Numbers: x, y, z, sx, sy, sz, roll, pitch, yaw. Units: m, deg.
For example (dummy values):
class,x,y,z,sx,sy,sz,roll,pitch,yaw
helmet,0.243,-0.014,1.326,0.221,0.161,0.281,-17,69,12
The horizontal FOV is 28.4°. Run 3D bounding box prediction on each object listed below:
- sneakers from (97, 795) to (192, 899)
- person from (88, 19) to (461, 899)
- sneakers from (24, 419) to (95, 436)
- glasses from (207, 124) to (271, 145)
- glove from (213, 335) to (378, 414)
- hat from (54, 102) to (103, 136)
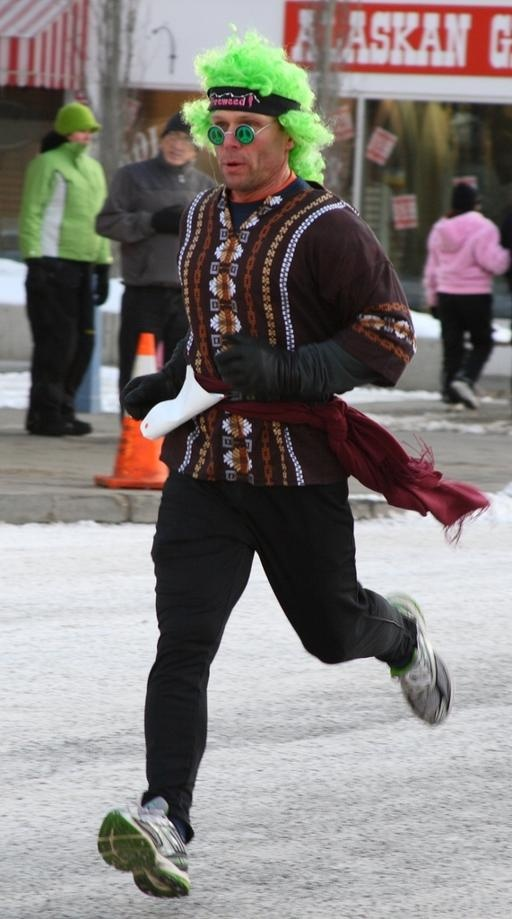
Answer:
class,x,y,z,sx,sy,sz,roll,pitch,yaw
sneakers,-0.199,0.715,1.842,0.093,0.181,0.135,-22,25,36
person,0.019,-0.053,2.196,0.600,1.770,1.122,7,9,33
sneakers,-1.634,-0.291,8.415,0.565,0.232,0.182,-4,6,-11
glasses,-0.039,-0.667,2.083,0.127,0.047,0.059,4,7,11
glove,0.088,-0.179,1.972,0.346,0.113,0.090,-3,9,-36
hat,-1.412,-2.625,7.821,0.365,0.219,0.248,0,14,12
